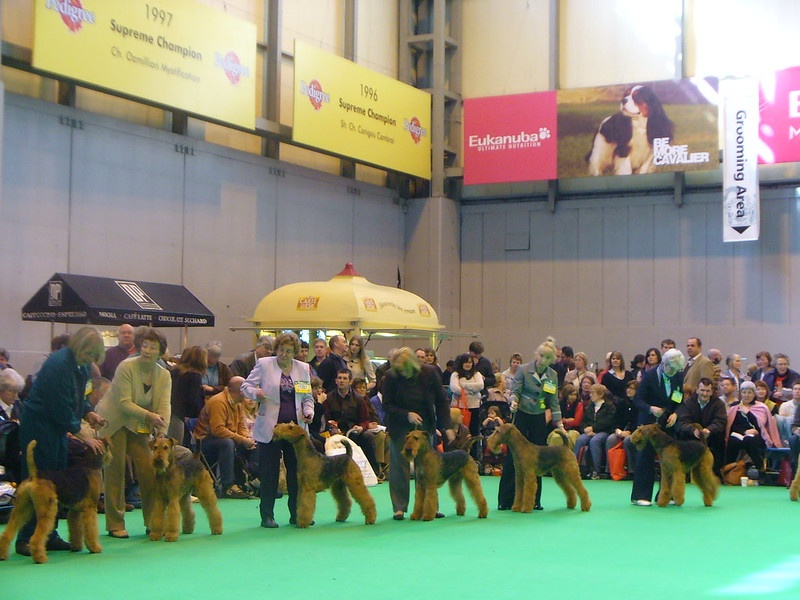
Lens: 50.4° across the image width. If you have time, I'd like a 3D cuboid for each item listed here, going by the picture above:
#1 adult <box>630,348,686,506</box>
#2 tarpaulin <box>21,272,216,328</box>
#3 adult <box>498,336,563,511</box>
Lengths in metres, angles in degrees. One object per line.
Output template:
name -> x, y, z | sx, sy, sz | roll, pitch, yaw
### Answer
adult -> 3.606, 1.769, 11.745 | 0.645, 2.220, 0.722 | 2, -2, 38
tarpaulin -> -4.813, 0.033, 14.694 | 1.263, 0.864, 2.718 | -7, -8, 41
adult -> 1.760, 1.545, 11.503 | 0.733, 2.077, 0.710 | 0, 24, -4
